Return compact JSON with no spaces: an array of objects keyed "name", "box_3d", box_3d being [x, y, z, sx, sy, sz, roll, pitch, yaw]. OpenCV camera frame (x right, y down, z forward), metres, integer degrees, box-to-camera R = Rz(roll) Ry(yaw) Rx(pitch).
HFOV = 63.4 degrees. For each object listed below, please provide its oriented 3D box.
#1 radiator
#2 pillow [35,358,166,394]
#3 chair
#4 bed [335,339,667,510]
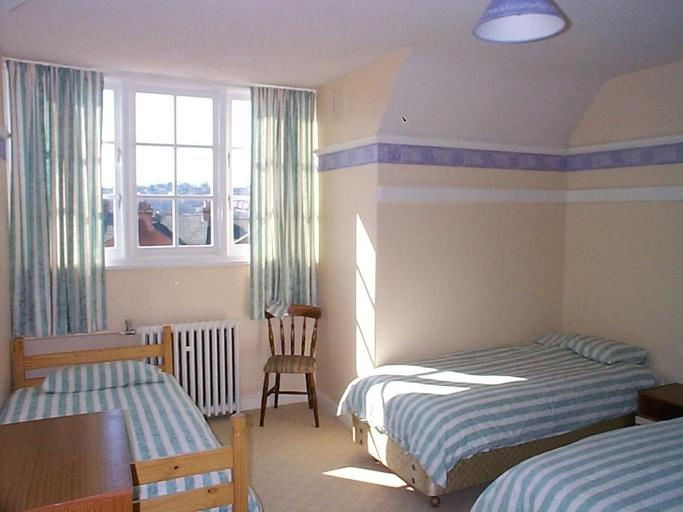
[{"name":"radiator","box_3d":[-1.271,0.873,4.312,0.853,0.805,0.170,-2,8,-14]},{"name":"pillow","box_3d":[-1.695,0.841,3.944,0.544,0.117,0.198,-3,35,-23]},{"name":"chair","box_3d":[-0.444,0.931,4.863,0.525,0.987,0.689,0,11,-3]},{"name":"bed","box_3d":[1.285,1.091,4.382,2.220,0.729,1.356,-4,4,-29]}]
